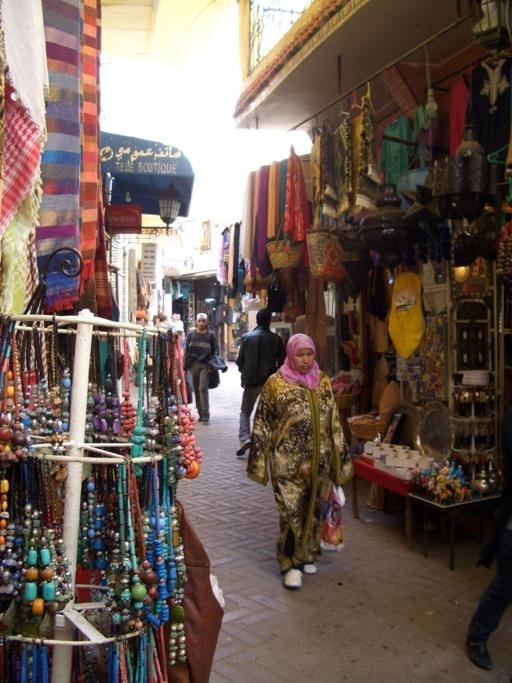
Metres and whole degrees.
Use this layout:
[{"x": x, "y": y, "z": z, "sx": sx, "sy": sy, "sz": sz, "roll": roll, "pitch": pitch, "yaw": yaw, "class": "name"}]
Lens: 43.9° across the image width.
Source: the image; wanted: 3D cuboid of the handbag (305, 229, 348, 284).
[{"x": 0.593, "y": -0.740, "z": 5.294, "sx": 0.447, "sy": 0.498, "sz": 0.268, "roll": 0, "pitch": -8, "yaw": -21, "class": "handbag"}]

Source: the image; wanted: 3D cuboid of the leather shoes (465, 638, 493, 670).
[{"x": 1.026, "y": 1.431, "z": 2.903, "sx": 0.055, "sy": 0.072, "sz": 0.161, "roll": 0, "pitch": -3, "yaw": 4, "class": "leather shoes"}]

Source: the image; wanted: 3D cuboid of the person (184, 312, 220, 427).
[{"x": -0.894, "y": 0.453, "z": 10.426, "sx": 0.550, "sy": 1.359, "sz": 0.671, "roll": 1, "pitch": 0, "yaw": -7, "class": "person"}]

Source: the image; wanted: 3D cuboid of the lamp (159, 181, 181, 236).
[{"x": -1.167, "y": -1.843, "z": 8.587, "sx": 0.268, "sy": 0.708, "sz": 0.275, "roll": 6, "pitch": 8, "yaw": 8, "class": "lamp"}]

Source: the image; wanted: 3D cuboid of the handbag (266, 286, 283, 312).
[{"x": 0.229, "y": -0.477, "z": 7.011, "sx": 0.212, "sy": 0.405, "sz": 0.205, "roll": 0, "pitch": -2, "yaw": 7, "class": "handbag"}]

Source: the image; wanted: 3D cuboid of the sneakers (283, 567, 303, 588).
[{"x": 0.225, "y": 1.462, "z": 3.906, "sx": 0.114, "sy": 0.092, "sz": 0.127, "roll": 1, "pitch": 0, "yaw": 0, "class": "sneakers"}]

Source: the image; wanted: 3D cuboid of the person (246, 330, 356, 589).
[{"x": 0.287, "y": 0.734, "z": 4.168, "sx": 0.508, "sy": 1.340, "sz": 0.602, "roll": 1, "pitch": 0, "yaw": 43, "class": "person"}]

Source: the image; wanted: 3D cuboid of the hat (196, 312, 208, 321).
[{"x": -0.865, "y": -0.411, "z": 10.347, "sx": 0.236, "sy": 0.128, "sz": 0.358, "roll": 0, "pitch": 0, "yaw": -4, "class": "hat"}]

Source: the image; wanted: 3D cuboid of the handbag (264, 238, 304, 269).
[{"x": 0.262, "y": -0.834, "z": 5.993, "sx": 0.263, "sy": 0.211, "sz": 0.264, "roll": 0, "pitch": 6, "yaw": 5, "class": "handbag"}]
